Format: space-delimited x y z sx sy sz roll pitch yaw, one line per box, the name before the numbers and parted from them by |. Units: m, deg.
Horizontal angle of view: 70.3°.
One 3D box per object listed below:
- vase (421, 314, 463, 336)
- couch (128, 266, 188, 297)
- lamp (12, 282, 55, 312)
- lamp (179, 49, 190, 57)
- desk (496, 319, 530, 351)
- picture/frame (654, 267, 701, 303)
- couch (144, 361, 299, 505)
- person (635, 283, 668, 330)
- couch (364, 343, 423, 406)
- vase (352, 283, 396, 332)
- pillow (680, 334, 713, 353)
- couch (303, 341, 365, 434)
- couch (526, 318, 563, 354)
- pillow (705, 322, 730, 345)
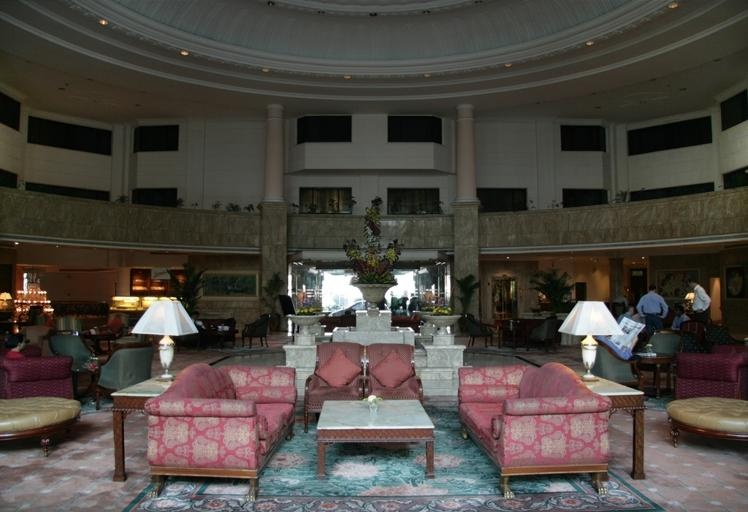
vase | 1.315 1.281 10.340 0.751 0.295 0.735 -2 -3 13
couch | -8.964 1.038 21.671 2.136 1.176 0.809 2 4 19
lamp | -12.372 1.466 19.069 1.014 0.615 5.883 -3 5 -34
lamp | -5.741 -6.157 16.042 0.231 0.058 0.371 -1 4 -19
desk | 4.164 2.268 15.908 0.826 0.822 1.054 -2 -2 41
picture/frame | 11.413 1.049 19.845 1.478 1.158 0.167 -3 -2 40
couch | -1.821 1.969 6.658 1.333 1.209 1.851 1 4 6
person | 6.773 1.266 12.960 0.637 1.013 1.002 2 4 26
couch | 0.270 1.791 8.294 0.805 0.638 1.065 0 4 -2
vase | -0.020 1.089 11.087 0.948 0.895 0.920 1 -7 -2
pillow | 6.280 1.718 10.350 0.354 0.468 0.413 2 -10 -9
couch | -0.326 1.915 8.316 1.002 1.302 1.104 -1 -7 4
couch | 4.908 2.207 15.357 0.886 1.076 1.822 2 4 19
pillow | 6.974 1.601 10.767 0.392 0.485 0.413 -2 -8 9
